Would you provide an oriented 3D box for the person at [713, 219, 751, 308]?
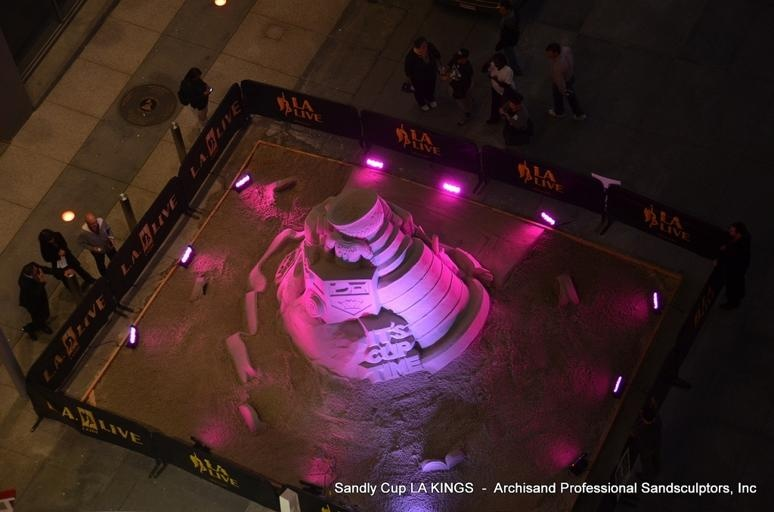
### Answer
[{"bbox_3d":[9.098,0.323,19.523,0.680,0.761,2.309,19,-32,27],"label":"person"}]

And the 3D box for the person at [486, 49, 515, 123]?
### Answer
[{"bbox_3d":[3.282,-4.903,21.928,0.930,1.524,1.556,17,9,5],"label":"person"}]

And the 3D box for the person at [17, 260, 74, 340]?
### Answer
[{"bbox_3d":[-9.259,1.284,20.117,1.500,0.727,2.058,0,-32,-16],"label":"person"}]

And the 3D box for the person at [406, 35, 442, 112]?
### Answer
[{"bbox_3d":[1.099,-5.385,22.387,0.899,1.455,1.813,20,9,18],"label":"person"}]

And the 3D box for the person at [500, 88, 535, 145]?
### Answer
[{"bbox_3d":[3.846,-4.012,21.988,0.908,1.203,1.621,-17,-26,7],"label":"person"}]
